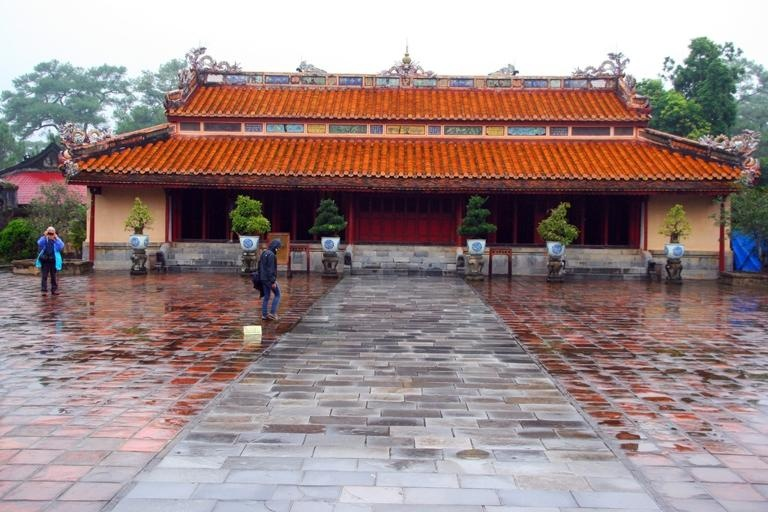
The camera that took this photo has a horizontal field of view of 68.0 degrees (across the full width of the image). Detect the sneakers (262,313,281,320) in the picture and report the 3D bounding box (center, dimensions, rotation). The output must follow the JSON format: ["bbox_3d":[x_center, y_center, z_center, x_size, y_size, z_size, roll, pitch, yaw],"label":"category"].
[{"bbox_3d":[-2.224,1.227,11.513,0.447,0.147,0.130,1,8,-3],"label":"sneakers"}]

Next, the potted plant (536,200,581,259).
[{"bbox_3d":[6.249,-0.850,20.325,1.006,1.974,0.733,-3,2,-20],"label":"potted plant"}]

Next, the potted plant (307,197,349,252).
[{"bbox_3d":[-2.035,-1.131,21.375,1.130,2.043,1.914,-2,2,-3],"label":"potted plant"}]

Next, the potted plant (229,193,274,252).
[{"bbox_3d":[-4.698,-1.113,19.856,1.178,1.958,1.383,-2,2,-14],"label":"potted plant"}]
